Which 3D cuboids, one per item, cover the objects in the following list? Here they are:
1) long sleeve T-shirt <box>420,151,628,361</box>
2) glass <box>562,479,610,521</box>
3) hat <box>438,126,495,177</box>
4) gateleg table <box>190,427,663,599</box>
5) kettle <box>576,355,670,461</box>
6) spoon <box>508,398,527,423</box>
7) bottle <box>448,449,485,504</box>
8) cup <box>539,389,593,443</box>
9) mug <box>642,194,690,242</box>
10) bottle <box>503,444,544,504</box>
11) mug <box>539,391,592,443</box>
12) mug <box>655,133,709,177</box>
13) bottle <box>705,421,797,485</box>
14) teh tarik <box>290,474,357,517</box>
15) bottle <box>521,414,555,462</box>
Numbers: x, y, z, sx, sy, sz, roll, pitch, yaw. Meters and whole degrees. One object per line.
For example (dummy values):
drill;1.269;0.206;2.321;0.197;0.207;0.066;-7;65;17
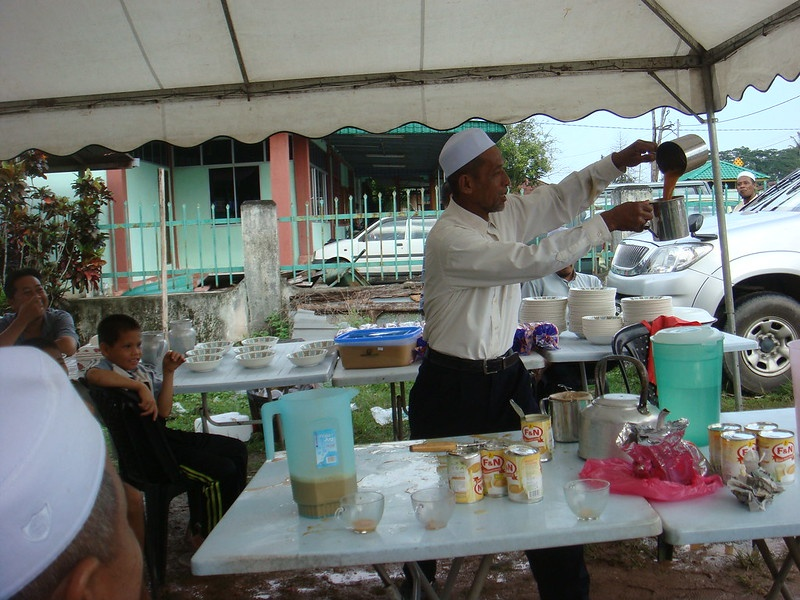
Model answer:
long sleeve T-shirt;0.551;-0.222;3.514;1.138;1.158;0.840;2;6;25
glass;0.604;0.642;2.129;0.127;0.091;0.127;-4;5;-4
hat;0.307;-0.761;3.247;0.249;0.163;0.250;-19;18;10
gateleg table;0.062;0.741;2.382;1.477;0.277;0.750;-4;8;-3
kettle;0.774;0.420;2.579;0.366;0.396;0.360;-1;3;-22
spoon;0.484;0.456;2.726;0.059;0.050;0.262;36;5;7
bottle;0.219;0.616;2.310;0.157;0.233;0.155;-2;3;0
cup;0.682;0.498;2.813;0.233;0.208;0.155;2;8;30
mug;1.261;-0.391;3.127;0.144;0.187;0.262;-12;4;-22
bottle;0.417;0.599;2.284;0.167;0.185;0.166;-2;4;-2
mug;0.700;0.489;2.739;0.236;0.206;0.153;-3;1;-37
mug;1.445;-0.749;3.343;0.185;0.206;0.442;2;9;34
bottle;1.273;0.535;2.362;0.224;0.144;0.221;0;-2;0
teh tarik;-0.269;0.675;2.231;0.189;0.128;0.147;-1;1;-9
bottle;0.511;0.548;2.618;0.165;0.182;0.160;-1;-1;2
